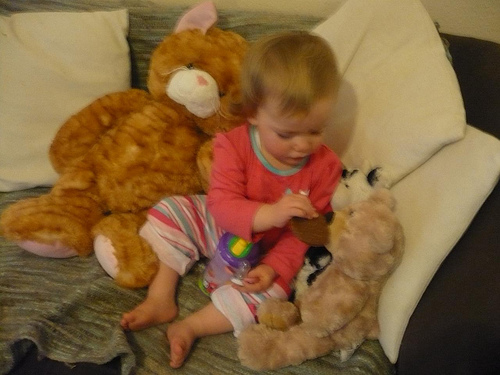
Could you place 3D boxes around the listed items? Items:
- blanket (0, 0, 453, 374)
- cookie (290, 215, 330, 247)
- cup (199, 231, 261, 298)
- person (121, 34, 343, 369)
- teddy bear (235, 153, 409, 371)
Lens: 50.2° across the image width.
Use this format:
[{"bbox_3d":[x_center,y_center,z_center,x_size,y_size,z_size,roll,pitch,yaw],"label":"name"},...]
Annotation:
[{"bbox_3d":[-0.294,-0.068,2.187,1.389,1.298,0.617,15,-5,-1],"label":"blanket"},{"bbox_3d":[0.183,0.122,1.528,0.128,0.077,0.073,-12,40,-22],"label":"cookie"},{"bbox_3d":[-0.062,0.234,1.636,0.145,0.145,0.234,3,75,-13],"label":"cup"},{"bbox_3d":[-0.041,0.072,1.604,0.482,0.726,0.612,31,42,7],"label":"person"},{"bbox_3d":[0.234,0.237,1.518,0.366,0.476,0.558,23,40,22],"label":"teddy bear"}]
